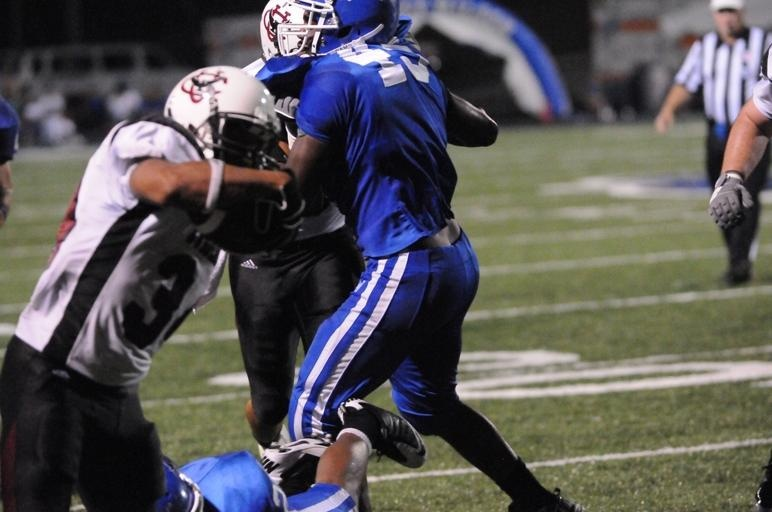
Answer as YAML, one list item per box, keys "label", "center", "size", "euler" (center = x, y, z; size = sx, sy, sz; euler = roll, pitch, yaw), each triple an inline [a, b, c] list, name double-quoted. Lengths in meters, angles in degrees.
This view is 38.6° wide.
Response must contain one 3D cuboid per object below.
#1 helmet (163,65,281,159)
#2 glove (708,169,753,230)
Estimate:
- label: "helmet"
  center: [-0.628, -0.602, 4.595]
  size: [0.411, 0.395, 0.513]
  euler: [-22, 31, -32]
- label: "glove"
  center: [1.657, -0.257, 5.239]
  size: [0.194, 0.277, 0.213]
  euler: [2, 9, 18]
